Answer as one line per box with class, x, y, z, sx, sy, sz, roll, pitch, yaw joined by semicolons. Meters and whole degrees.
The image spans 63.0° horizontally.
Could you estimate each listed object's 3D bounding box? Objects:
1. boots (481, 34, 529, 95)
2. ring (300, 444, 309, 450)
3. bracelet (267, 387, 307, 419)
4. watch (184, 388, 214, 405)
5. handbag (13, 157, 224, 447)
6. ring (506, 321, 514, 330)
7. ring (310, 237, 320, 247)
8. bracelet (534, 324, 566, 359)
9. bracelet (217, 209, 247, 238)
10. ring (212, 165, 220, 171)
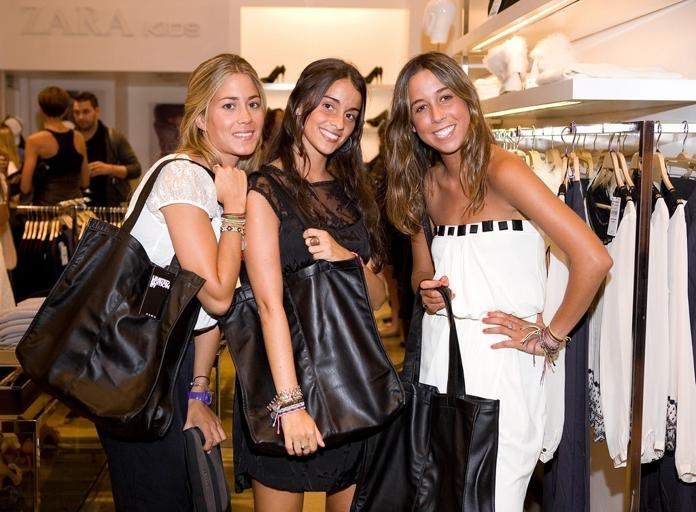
boots;0.978;-1.132;3.417;0.214;0.324;0.223;1;-1;0
ring;-0.154;0.683;2.042;0.011;0.024;0.029;46;24;26
bracelet;-0.220;0.533;2.044;0.113;0.060;0.090;-16;-9;34
watch;-0.603;0.553;2.293;0.072;0.058;0.082;6;-6;12
handbag;-0.824;0.150;1.970;0.640;0.956;0.237;-3;6;-19
ring;0.620;0.265;2.198;0.018;0.034;0.030;-8;-10;-19
ring;-0.123;-0.056;2.120;0.031;0.053;0.027;3;21;13
bracelet;0.769;0.328;2.198;0.091;0.095;0.120;11;8;24
bracelet;-0.416;-0.118;2.040;0.071;0.073;0.079;5;8;1
ring;-0.492;-0.333;2.123;0.021;0.043;0.035;0;1;-27
